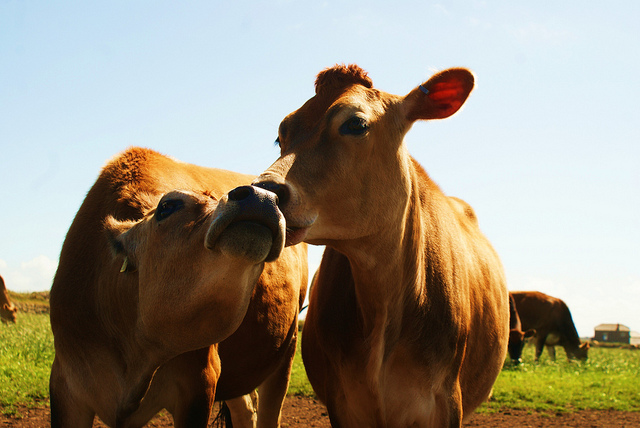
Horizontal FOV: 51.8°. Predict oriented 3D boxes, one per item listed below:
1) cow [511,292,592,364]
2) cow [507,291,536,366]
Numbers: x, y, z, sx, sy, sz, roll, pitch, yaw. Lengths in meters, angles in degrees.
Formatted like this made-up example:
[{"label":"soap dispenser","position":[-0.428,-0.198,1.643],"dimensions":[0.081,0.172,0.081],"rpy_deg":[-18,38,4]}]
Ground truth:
[{"label":"cow","position":[8.065,3.811,23.013],"dimensions":[2.137,2.395,2.822],"rpy_deg":[1,-11,8]},{"label":"cow","position":[6.193,3.439,20.317],"dimensions":[0.757,2.366,5.078],"rpy_deg":[-1,-12,17]}]
